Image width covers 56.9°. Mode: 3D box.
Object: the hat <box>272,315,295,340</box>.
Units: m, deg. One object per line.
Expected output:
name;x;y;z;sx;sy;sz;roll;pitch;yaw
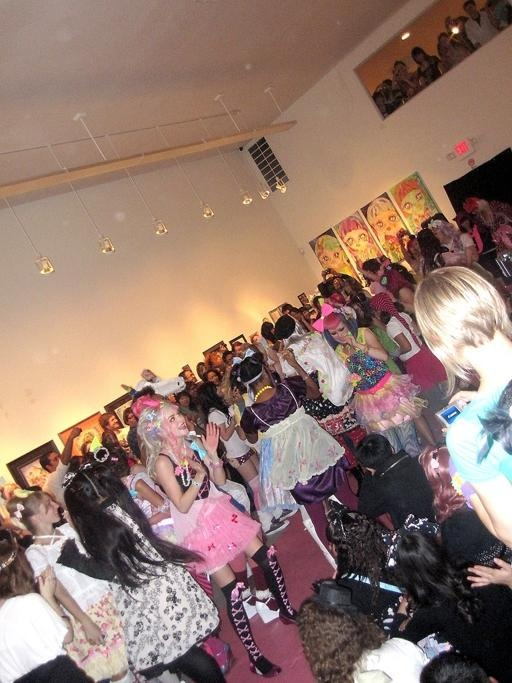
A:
hat;0.279;-0.140;4.621;0.220;0.223;0.072;-22;-19;28

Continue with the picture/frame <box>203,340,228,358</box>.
picture/frame;-0.772;0.130;9.128;0.279;0.095;0.409;-29;10;-23
